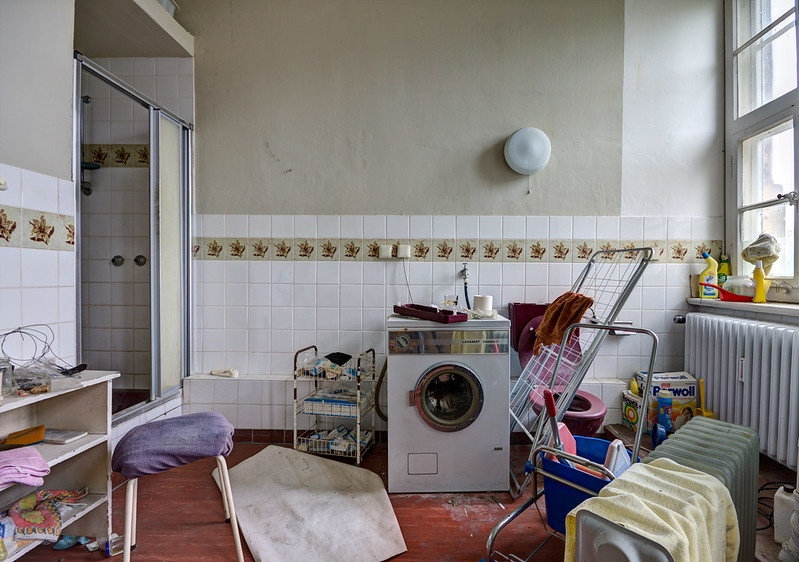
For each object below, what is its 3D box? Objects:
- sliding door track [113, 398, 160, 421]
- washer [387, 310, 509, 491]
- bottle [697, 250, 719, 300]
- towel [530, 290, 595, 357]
[{"bbox_3d":[-1.898,0.928,4.410,0.041,0.080,0.510,-5,0,15],"label":"sliding door track"},{"bbox_3d":[0.337,0.860,4.200,0.840,1.167,0.113,-1,1,1],"label":"washer"},{"bbox_3d":[2.418,-0.043,4.793,0.136,0.361,0.200,0,1,29],"label":"bottle"},{"bbox_3d":[1.041,0.284,3.998,0.161,0.410,0.395,20,8,-26],"label":"towel"}]
